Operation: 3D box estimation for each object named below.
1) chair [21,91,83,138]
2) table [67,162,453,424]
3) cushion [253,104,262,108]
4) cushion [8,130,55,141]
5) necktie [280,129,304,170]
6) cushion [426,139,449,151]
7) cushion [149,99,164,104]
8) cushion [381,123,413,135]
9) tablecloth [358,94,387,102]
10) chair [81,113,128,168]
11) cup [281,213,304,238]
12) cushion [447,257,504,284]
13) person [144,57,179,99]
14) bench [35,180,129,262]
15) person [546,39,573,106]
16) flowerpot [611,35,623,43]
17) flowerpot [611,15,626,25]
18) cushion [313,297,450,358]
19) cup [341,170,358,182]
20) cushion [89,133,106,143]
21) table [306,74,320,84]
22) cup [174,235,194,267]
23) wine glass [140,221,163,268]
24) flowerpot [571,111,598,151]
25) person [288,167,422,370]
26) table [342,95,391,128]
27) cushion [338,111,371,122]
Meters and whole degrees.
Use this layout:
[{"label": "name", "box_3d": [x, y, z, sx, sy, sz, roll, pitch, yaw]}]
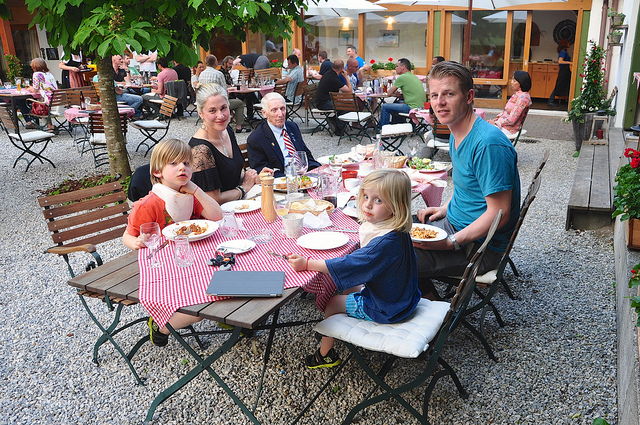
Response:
[{"label": "chair", "box_3d": [-6.494, -2.404, 10.628, 0.995, 1.363, 1.101, 25, 28, 8]}, {"label": "table", "box_3d": [-0.493, 0.703, 3.475, 0.928, 0.830, 1.749, 17, 34, 21]}, {"label": "cushion", "box_3d": [-1.662, -2.816, 11.451, 0.151, 0.049, 0.676, -9, 21, -13]}, {"label": "cushion", "box_3d": [-5.691, -1.538, 8.682, 0.627, 0.142, 0.609, -22, 27, -39]}, {"label": "necktie", "box_3d": [-0.351, -0.737, 5.146, 0.107, 0.632, 0.075, -27, -4, -20]}, {"label": "cushion", "box_3d": [2.146, -1.251, 8.009, 0.328, 0.131, 0.237, 13, 29, 21]}, {"label": "cushion", "box_3d": [-4.463, -3.021, 11.902, 0.641, 0.126, 0.236, 13, 27, 37]}, {"label": "cushion", "box_3d": [1.525, -1.681, 8.830, 0.612, 0.103, 0.856, 0, 21, 10]}, {"label": "tablecloth", "box_3d": [1.197, -2.683, 10.192, 0.628, 0.149, 0.240, 4, 23, 22]}, {"label": "chair", "box_3d": [-4.281, -1.433, 8.848, 0.746, 1.064, 0.780, -6, 9, -27]}, {"label": "cup", "box_3d": [-0.220, 0.101, 3.458, 0.168, 0.141, 0.183, -2, 4, 0]}, {"label": "cushion", "box_3d": [1.388, 0.513, 3.721, 0.279, 0.084, 0.236, 4, 23, 21]}, {"label": "person", "box_3d": [-4.425, -3.687, 12.051, 0.857, 1.145, 0.911, 18, 27, 12]}, {"label": "bench", "box_3d": [-2.472, 0.131, 4.547, 0.776, 0.747, 0.566, -24, 62, -37]}, {"label": "person", "box_3d": [7.896, -4.583, 14.381, 0.556, 1.939, 1.473, 7, 24, 28]}, {"label": "flowerpot", "box_3d": [6.236, -3.678, 9.267, 0.182, 0.141, 0.170, -4, 22, -5]}, {"label": "flowerpot", "box_3d": [6.131, -3.983, 9.019, 0.237, 0.177, 0.221, -16, 17, -40]}, {"label": "cushion", "box_3d": [0.477, 0.840, 3.158, 0.456, 0.073, 0.521, 9, 22, 27]}, {"label": "cup", "box_3d": [0.305, -0.394, 4.611, 0.121, 0.094, 0.115, -2, 17, 1]}, {"label": "cushion", "box_3d": [-4.361, -1.484, 8.550, 0.254, 0.198, 0.655, -15, 23, -25]}, {"label": "table", "box_3d": [-0.284, -4.277, 13.965, 0.309, 0.286, 1.985, -4, 21, 1]}, {"label": "cup", "box_3d": [-1.008, 0.269, 3.187, 0.143, 0.203, 0.173, -11, 22, -17]}, {"label": "wine glass", "box_3d": [-1.247, 0.233, 3.245, 0.132, 0.250, 0.320, -13, 22, -20]}, {"label": "flowerpot", "box_3d": [5.114, -1.584, 8.613, 0.428, 0.773, 0.334, 13, 27, 38]}, {"label": "person", "box_3d": [0.454, 0.176, 3.768, 1.229, 1.705, 1.149, 4, 18, 14]}, {"label": "table", "box_3d": [1.055, -2.387, 10.293, 0.731, 0.939, 0.936, 7, 32, 13]}, {"label": "cushion", "box_3d": [0.752, -2.190, 9.917, 0.720, 0.192, 0.540, 1, 21, 13]}]
